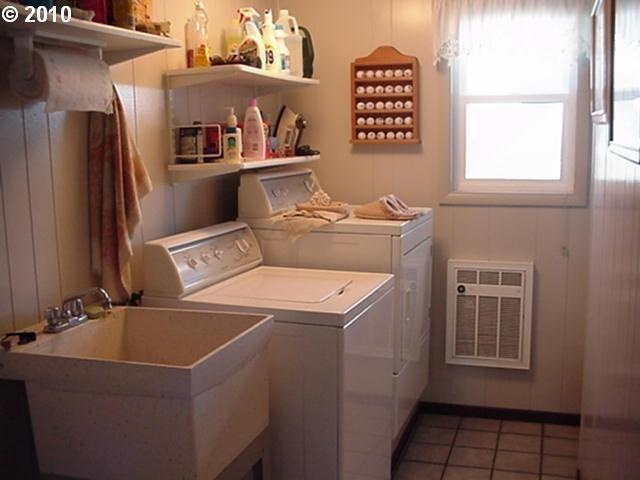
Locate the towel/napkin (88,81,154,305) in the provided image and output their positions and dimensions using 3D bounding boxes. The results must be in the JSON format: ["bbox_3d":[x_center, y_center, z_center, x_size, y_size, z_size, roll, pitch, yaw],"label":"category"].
[{"bbox_3d":[-0.822,-0.152,2.093,0.213,0.884,0.161,-1,9,9],"label":"towel/napkin"}]

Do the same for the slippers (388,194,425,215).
[{"bbox_3d":[0.479,-0.184,2.895,0.186,0.068,0.136,17,19,13],"label":"slippers"}]

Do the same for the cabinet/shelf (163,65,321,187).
[{"bbox_3d":[-0.402,-0.614,2.782,0.391,0.559,0.912,2,10,21],"label":"cabinet/shelf"}]

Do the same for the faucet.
[{"bbox_3d":[-0.884,0.250,1.883,0.081,0.113,0.267,1,5,25],"label":"faucet"}]

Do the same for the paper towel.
[{"bbox_3d":[-0.875,-0.523,1.713,0.122,0.148,0.254,6,8,27],"label":"paper towel"}]
